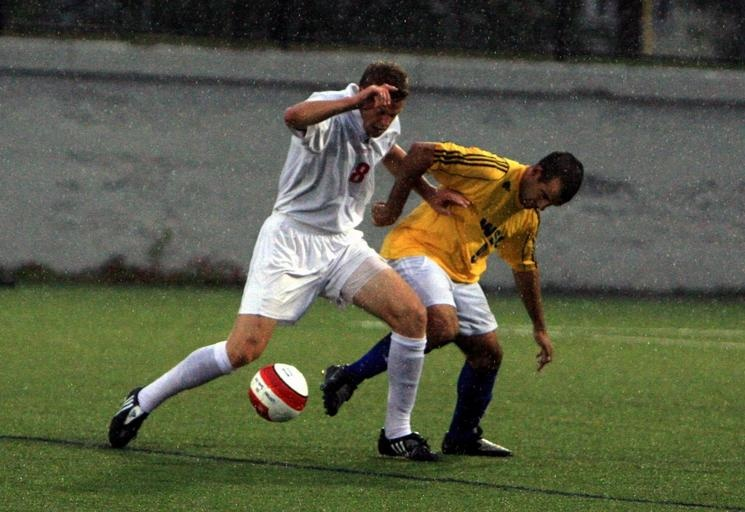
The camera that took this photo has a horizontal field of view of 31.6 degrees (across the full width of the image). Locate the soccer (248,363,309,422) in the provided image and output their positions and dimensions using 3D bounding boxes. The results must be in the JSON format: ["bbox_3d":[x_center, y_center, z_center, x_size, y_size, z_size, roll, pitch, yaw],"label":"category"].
[{"bbox_3d":[-0.747,1.115,11.014,0.470,0.452,0.459,-14,45,9],"label":"soccer"}]

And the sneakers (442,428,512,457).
[{"bbox_3d":[0.840,1.611,11.224,0.697,0.279,0.226,1,-2,-1],"label":"sneakers"}]
